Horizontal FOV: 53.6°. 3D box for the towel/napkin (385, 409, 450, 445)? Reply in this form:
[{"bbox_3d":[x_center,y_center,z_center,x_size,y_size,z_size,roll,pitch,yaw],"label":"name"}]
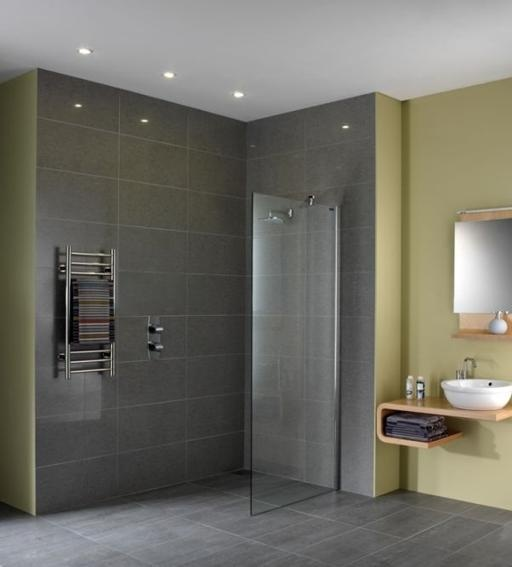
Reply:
[{"bbox_3d":[1.024,0.941,3.345,0.237,0.084,0.229,0,-3,39],"label":"towel/napkin"}]

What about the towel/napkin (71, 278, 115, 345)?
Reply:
[{"bbox_3d":[-1.086,0.153,3.330,0.346,0.457,0.259,-2,17,-21],"label":"towel/napkin"}]

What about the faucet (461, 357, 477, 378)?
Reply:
[{"bbox_3d":[1.436,0.568,3.414,0.093,0.144,0.076,-3,-9,21],"label":"faucet"}]
